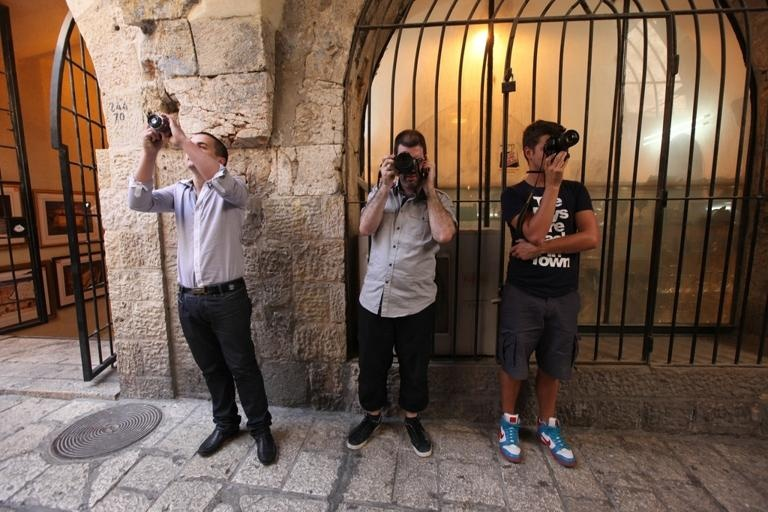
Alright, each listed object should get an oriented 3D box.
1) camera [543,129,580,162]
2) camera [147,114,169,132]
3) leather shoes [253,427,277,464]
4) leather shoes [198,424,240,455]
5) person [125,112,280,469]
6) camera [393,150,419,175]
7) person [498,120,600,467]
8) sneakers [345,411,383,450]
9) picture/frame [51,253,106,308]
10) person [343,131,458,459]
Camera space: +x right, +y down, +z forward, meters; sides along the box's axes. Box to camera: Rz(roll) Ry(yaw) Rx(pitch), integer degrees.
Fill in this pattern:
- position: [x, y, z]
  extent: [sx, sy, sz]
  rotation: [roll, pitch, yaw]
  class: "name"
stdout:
- position: [1.321, -0.834, 3.961]
  extent: [0.208, 0.129, 0.222]
  rotation: [0, -7, -29]
  class: "camera"
- position: [-1.740, -1.027, 4.030]
  extent: [0.187, 0.136, 0.069]
  rotation: [1, 8, 11]
  class: "camera"
- position: [-0.975, 1.536, 4.282]
  extent: [0.124, 0.121, 0.335]
  rotation: [-5, 13, -23]
  class: "leather shoes"
- position: [-1.348, 1.507, 4.357]
  extent: [0.132, 0.145, 0.364]
  rotation: [7, 11, 28]
  class: "leather shoes"
- position: [-1.386, 0.264, 4.260]
  extent: [1.123, 2.752, 0.441]
  rotation: [2, 8, 16]
  class: "person"
- position: [0.169, -0.714, 4.084]
  extent: [0.184, 0.175, 0.106]
  rotation: [1, 8, 8]
  class: "camera"
- position: [1.288, 0.296, 4.222]
  extent: [0.736, 2.725, 0.483]
  rotation: [2, 8, 12]
  class: "person"
- position: [-0.175, 1.440, 4.412]
  extent: [0.154, 0.161, 0.415]
  rotation: [9, 14, 29]
  class: "sneakers"
- position: [-3.832, 0.287, 6.748]
  extent: [0.653, 0.562, 0.039]
  rotation: [-11, 15, -44]
  class: "picture/frame"
- position: [0.129, 0.303, 4.283]
  extent: [0.843, 2.608, 0.373]
  rotation: [1, 8, 6]
  class: "person"
